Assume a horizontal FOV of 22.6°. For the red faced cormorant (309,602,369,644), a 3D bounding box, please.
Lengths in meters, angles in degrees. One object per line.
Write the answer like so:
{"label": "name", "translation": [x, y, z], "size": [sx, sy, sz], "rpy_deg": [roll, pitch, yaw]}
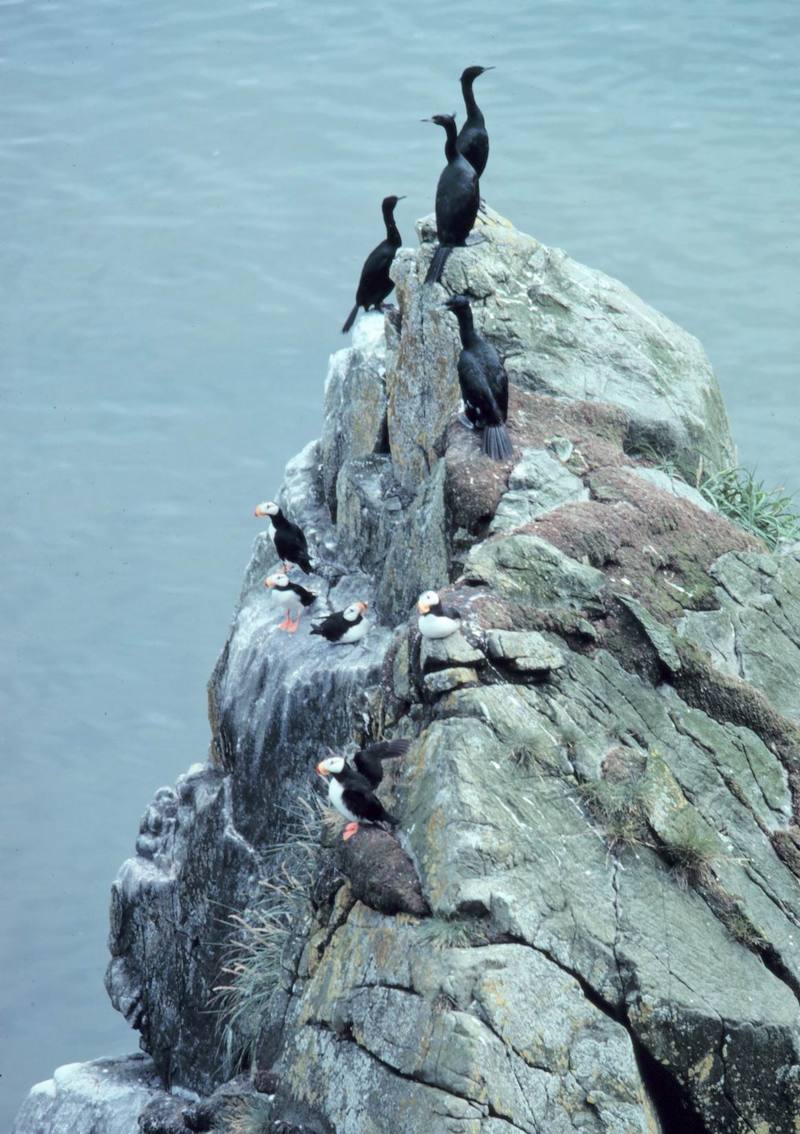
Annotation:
{"label": "red faced cormorant", "translation": [-0.427, 0.406, 13.861], "size": [0.374, 0.341, 0.243], "rpy_deg": [3, 56, 11]}

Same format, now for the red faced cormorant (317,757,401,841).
{"label": "red faced cormorant", "translation": [-0.252, 1.260, 10.651], "size": [0.424, 0.446, 0.259], "rpy_deg": [5, 29, 0]}

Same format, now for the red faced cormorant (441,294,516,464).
{"label": "red faced cormorant", "translation": [0.488, -1.202, 12.282], "size": [0.290, 0.694, 1.067], "rpy_deg": [-8, 65, 3]}

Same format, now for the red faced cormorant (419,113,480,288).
{"label": "red faced cormorant", "translation": [0.346, -2.448, 13.506], "size": [0.297, 0.947, 0.577], "rpy_deg": [4, 29, 0]}
